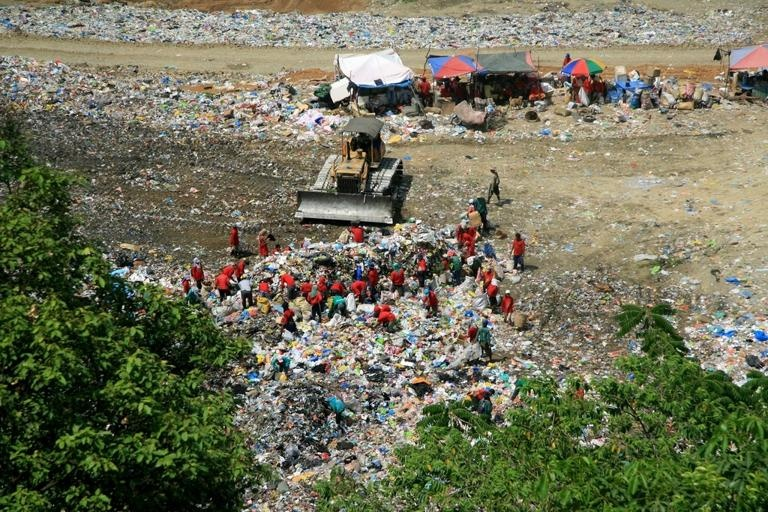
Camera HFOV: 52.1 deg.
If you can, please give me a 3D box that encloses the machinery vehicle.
[{"bbox_3d":[-0.824,-2.727,23.115,2.861,1.815,3.847,3,34,7],"label":"machinery vehicle"}]
